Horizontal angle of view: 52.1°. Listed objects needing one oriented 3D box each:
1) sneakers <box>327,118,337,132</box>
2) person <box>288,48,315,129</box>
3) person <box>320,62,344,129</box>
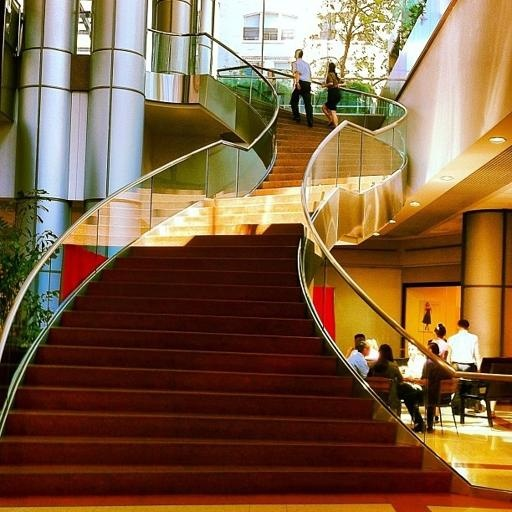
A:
[{"bbox_3d":[1.781,-3.011,11.996,0.138,0.205,0.437,-1,-11,4],"label":"sneakers"},{"bbox_3d":[1.061,-3.694,11.559,0.560,1.582,1.080,5,16,2],"label":"person"},{"bbox_3d":[1.727,-3.568,11.688,0.378,1.392,0.953,6,16,6],"label":"person"}]
